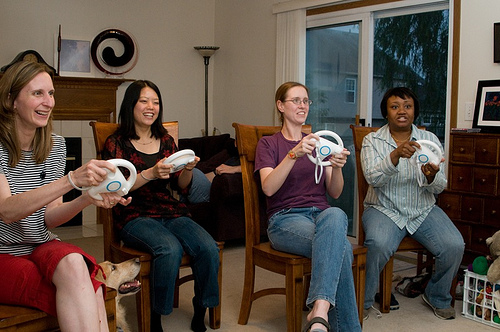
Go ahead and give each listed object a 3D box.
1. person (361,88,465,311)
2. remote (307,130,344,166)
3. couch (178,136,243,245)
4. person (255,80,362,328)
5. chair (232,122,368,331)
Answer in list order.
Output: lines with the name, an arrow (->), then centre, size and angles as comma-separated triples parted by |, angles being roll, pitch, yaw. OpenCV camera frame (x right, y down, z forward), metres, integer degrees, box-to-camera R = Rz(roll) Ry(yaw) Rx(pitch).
person -> 1.157, 0.258, 2.691 | 0.718, 1.637, 0.637 | 0, 8, 7
remote -> 0.467, -0.104, 2.221 | 0.178, 0.207, 0.253 | 4, 10, 26
couch -> -0.352, 0.261, 3.551 | 0.553, 0.820, 1.066 | -2, 10, -17
person -> 0.362, 0.310, 2.301 | 0.569, 1.660, 0.951 | -3, 8, -14
chair -> 0.231, 0.406, 2.604 | 0.697, 1.419, 1.171 | -3, 9, -18
